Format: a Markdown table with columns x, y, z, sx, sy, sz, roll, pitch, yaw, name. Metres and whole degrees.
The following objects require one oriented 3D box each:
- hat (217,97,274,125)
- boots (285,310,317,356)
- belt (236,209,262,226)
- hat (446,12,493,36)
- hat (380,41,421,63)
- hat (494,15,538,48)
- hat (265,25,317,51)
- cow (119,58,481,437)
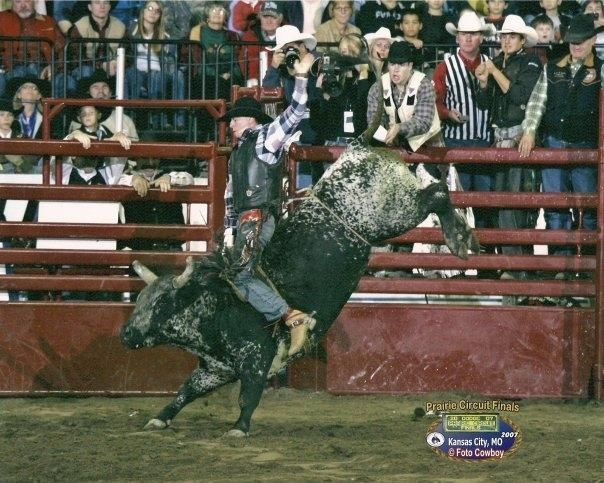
| x | y | z | sx | sy | sz | roll | pitch | yaw | name |
| --- | --- | --- | --- | --- | --- | --- | --- | --- | --- |
| -0.517 | -1.244 | 12.698 | 0.405 | 0.173 | 0.458 | -1 | -8 | -8 | hat |
| -0.005 | 0.801 | 12.043 | 0.267 | 0.394 | 0.108 | -4 | 8 | -35 | boots |
| -0.486 | -0.225 | 12.046 | 0.181 | 0.083 | 0.139 | -13 | -10 | 33 | belt |
| 1.919 | -2.500 | 15.411 | 0.603 | 0.237 | 0.627 | 0 | -10 | 6 | hat |
| 1.046 | -1.976 | 14.152 | 0.469 | 0.210 | 0.531 | 1 | 4 | 8 | hat |
| 2.399 | -2.304 | 14.564 | 0.370 | 0.131 | 0.315 | 28 | -23 | -35 | hat |
| -0.117 | -2.250 | 14.568 | 0.387 | 0.165 | 0.437 | -19 | -5 | 9 | hat |
| 0.082 | 0.166 | 12.902 | 2.332 | 3.619 | 1.091 | 43 | 0 | -21 | cow |
